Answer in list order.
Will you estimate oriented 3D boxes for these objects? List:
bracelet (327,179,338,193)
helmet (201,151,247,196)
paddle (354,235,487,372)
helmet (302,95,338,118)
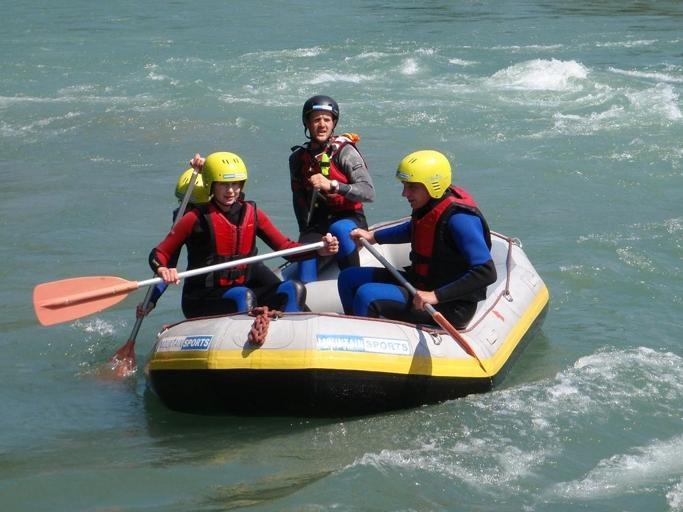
[{"bbox_3d":[-0.066,-0.787,10.881,0.097,0.111,0.130,5,22,5],"label":"bracelet"},{"bbox_3d":[-1.214,-0.872,10.221,0.450,0.420,0.304,-5,21,-8],"label":"helmet"},{"bbox_3d":[0.866,0.537,10.065,0.117,0.138,2.036,-33,66,-31],"label":"paddle"},{"bbox_3d":[-0.231,-1.743,11.272,0.390,0.266,0.442,-3,19,-2],"label":"helmet"}]
